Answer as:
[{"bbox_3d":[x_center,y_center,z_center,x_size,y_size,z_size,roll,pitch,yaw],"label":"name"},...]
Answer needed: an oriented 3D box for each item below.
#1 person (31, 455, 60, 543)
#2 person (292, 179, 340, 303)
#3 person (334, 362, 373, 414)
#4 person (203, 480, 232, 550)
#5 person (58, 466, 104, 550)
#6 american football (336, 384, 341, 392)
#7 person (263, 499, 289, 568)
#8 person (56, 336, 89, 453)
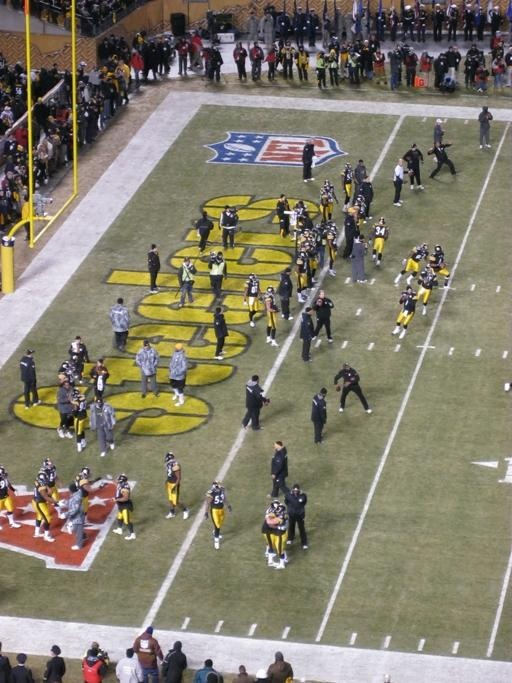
[{"bbox_3d":[-4.030,3.102,34.222,0.377,1.543,0.667,-5,20,3],"label":"person"},{"bbox_3d":[1.461,-2.604,46.154,1.018,3.714,0.896,9,34,26],"label":"person"},{"bbox_3d":[2.051,1.009,38.545,0.675,1.390,0.563,-2,37,13],"label":"person"},{"bbox_3d":[-0.649,3.241,33.717,0.419,1.283,0.618,-7,21,-30],"label":"person"},{"bbox_3d":[-3.368,3.228,33.893,0.745,1.592,0.568,-3,16,-10],"label":"person"},{"bbox_3d":[1.768,1.001,38.181,0.078,0.147,0.044,2,-13,-38],"label":"american football"},{"bbox_3d":[0.388,3.588,32.989,0.428,1.182,0.657,-4,19,-11],"label":"person"},{"bbox_3d":[-3.832,1.133,37.945,0.478,2.567,0.782,-8,22,-13],"label":"person"}]
